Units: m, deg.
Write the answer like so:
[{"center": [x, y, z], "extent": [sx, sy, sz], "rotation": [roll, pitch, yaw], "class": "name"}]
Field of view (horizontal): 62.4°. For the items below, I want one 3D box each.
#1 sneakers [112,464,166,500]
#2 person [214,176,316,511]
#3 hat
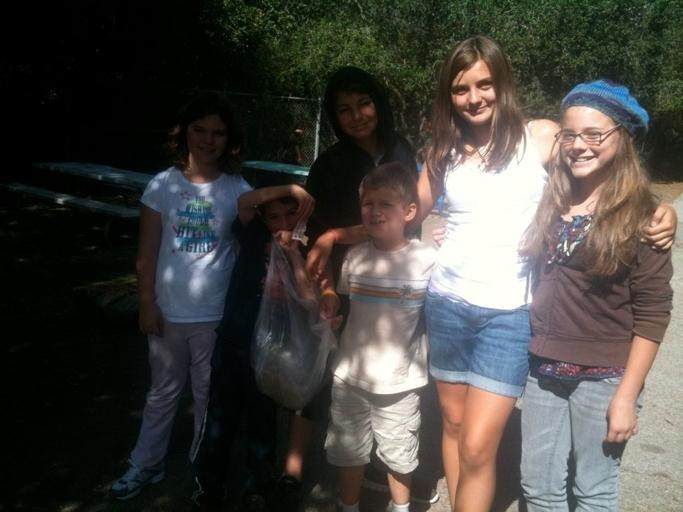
[{"center": [-1.324, 1.430, 3.695], "extent": [0.130, 0.165, 0.328], "rotation": [19, 26, 38], "class": "sneakers"}, {"center": [-0.540, 0.552, 3.443], "extent": [0.393, 1.929, 0.602], "rotation": [6, 10, 37], "class": "person"}, {"center": [1.374, -0.699, 2.894], "extent": [0.346, 0.151, 0.292], "rotation": [29, -2, -23], "class": "hat"}]
